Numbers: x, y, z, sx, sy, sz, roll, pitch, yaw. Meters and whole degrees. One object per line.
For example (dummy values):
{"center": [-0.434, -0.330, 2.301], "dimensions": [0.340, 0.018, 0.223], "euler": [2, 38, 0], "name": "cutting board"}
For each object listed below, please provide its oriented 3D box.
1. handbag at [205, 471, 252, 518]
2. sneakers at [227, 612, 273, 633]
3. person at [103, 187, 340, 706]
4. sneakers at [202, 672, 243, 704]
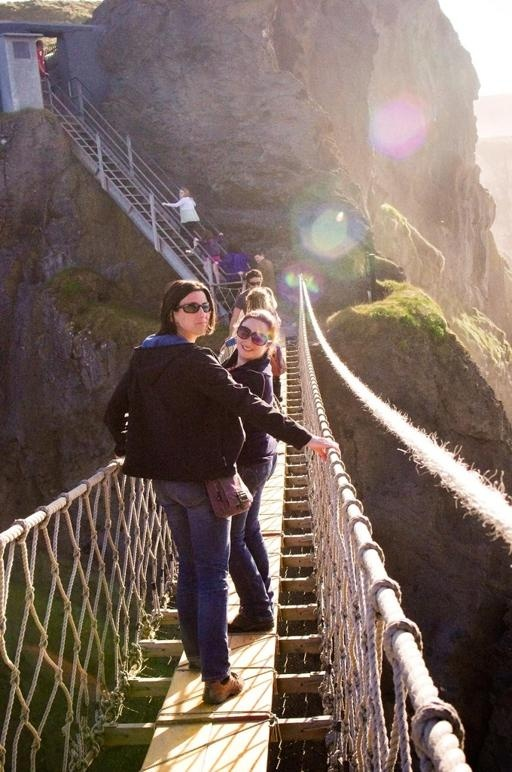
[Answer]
{"center": [-0.090, 0.379, 2.412], "dimensions": [0.129, 0.156, 0.082], "euler": [0, 6, -30], "name": "handbag"}
{"center": [-0.019, 1.003, 3.073], "dimensions": [0.205, 0.099, 0.079], "euler": [2, 1, -1], "name": "sneakers"}
{"center": [-0.234, 0.368, 2.587], "dimensions": [0.788, 1.488, 0.356], "euler": [6, 7, 35], "name": "person"}
{"center": [-0.101, 1.045, 2.549], "dimensions": [0.064, 0.071, 0.173], "euler": [4, 11, 36], "name": "sneakers"}
